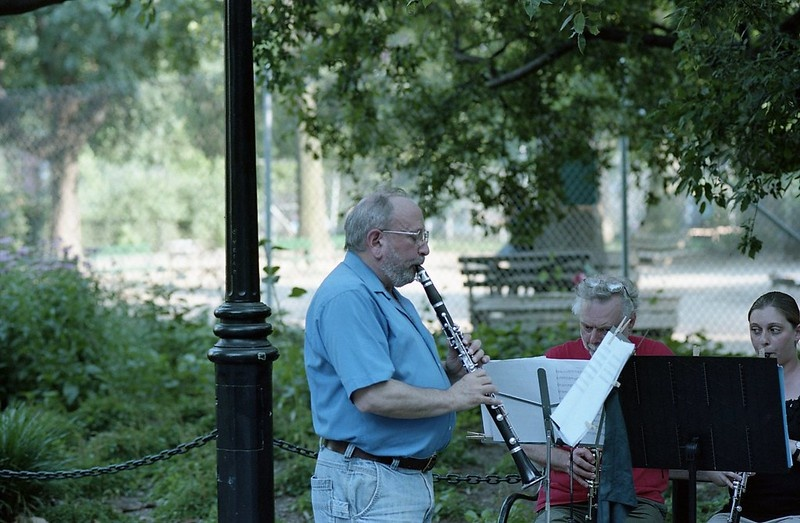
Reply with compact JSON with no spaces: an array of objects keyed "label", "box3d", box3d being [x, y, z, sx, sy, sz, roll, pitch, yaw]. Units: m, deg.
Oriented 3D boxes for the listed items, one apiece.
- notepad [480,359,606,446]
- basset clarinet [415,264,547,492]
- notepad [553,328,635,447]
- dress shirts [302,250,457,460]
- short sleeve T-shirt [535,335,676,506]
[{"label":"notepad","box3d":[1.135,1.104,11.336,0.684,0.550,0.081,1,7,10]},{"label":"basset clarinet","box3d":[0.734,1.115,13.021,0.336,2.220,0.399,-15,-18,-36]},{"label":"notepad","box3d":[1.537,1.038,11.143,0.604,0.823,0.227,38,-2,44]},{"label":"dress shirts","box3d":[-0.203,0.748,11.192,1.056,1.626,0.351,-2,-2,-5]},{"label":"short sleeve T-shirt","box3d":[1.609,1.319,11.393,1.173,1.552,0.820,1,-20,2]}]
